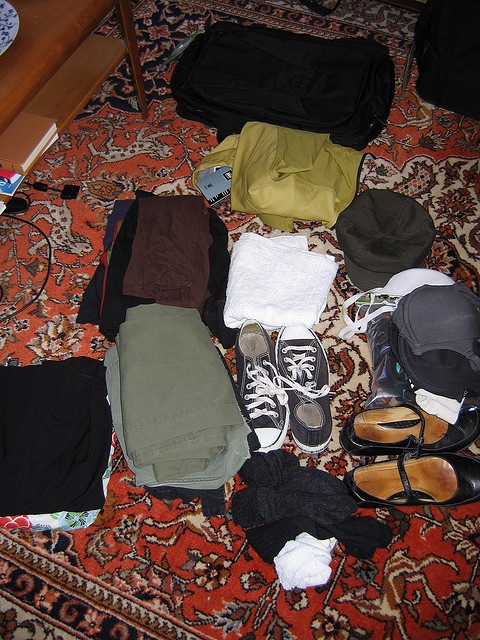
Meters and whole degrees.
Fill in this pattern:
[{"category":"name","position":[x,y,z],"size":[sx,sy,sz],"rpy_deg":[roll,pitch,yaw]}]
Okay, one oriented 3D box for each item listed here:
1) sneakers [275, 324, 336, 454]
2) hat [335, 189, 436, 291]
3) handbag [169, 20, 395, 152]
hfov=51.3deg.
[{"category":"sneakers","position":[0.202,0.226,1.595],"size":[0.164,0.141,0.376],"rpy_deg":[-6,74,4]},{"category":"hat","position":[0.473,-0.262,1.666],"size":[0.290,0.225,0.278],"rpy_deg":[24,53,25]},{"category":"handbag","position":[0.162,-0.866,1.963],"size":[0.749,0.242,0.444],"rpy_deg":[9,81,5]}]
